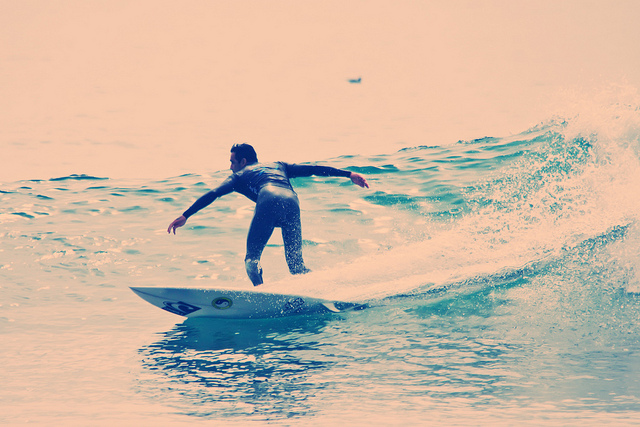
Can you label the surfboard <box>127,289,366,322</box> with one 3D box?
[{"bbox_3d":[-1.103,1.470,15.245,4.278,0.357,0.837,1,3,-2],"label":"surfboard"}]
